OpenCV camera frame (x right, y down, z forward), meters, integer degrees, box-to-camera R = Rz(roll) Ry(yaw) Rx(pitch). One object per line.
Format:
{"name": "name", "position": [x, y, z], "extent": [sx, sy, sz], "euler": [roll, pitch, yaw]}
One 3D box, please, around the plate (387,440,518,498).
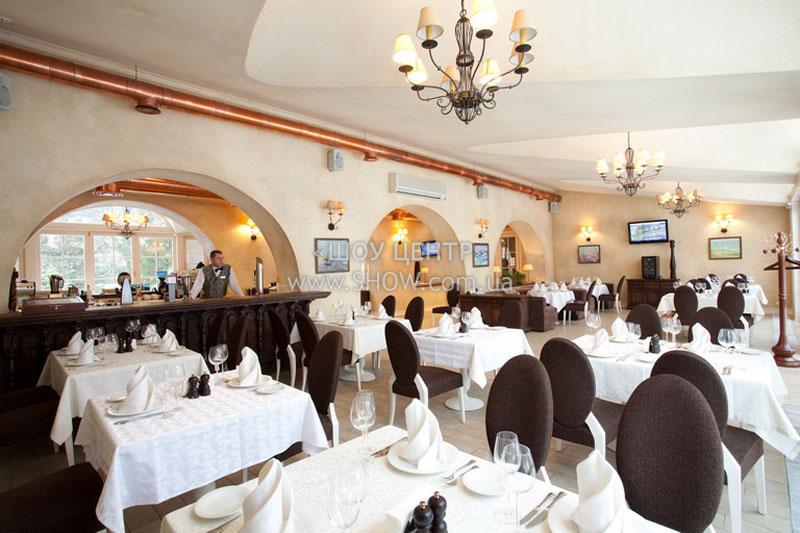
{"name": "plate", "position": [0.429, 1.518, 4.018], "extent": [0.376, 0.051, 0.569], "euler": [-2, 11, -30]}

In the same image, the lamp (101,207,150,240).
{"name": "lamp", "position": [-6.905, -0.921, 13.334], "extent": [1.111, 0.878, 1.069], "euler": [-3, 9, -34]}

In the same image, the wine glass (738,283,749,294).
{"name": "wine glass", "position": [6.509, 0.402, 10.121], "extent": [0.181, 0.202, 0.206], "euler": [1, 2, -28]}

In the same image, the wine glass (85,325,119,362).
{"name": "wine glass", "position": [-3.398, 0.877, 6.054], "extent": [0.266, 0.427, 0.248], "euler": [5, 5, 29]}

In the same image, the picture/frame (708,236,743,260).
{"name": "picture/frame", "position": [8.357, -0.501, 13.638], "extent": [0.044, 0.524, 0.609], "euler": [1, -1, -44]}

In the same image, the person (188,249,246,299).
{"name": "person", "position": [-2.872, 0.315, 8.378], "extent": [0.859, 1.201, 0.315], "euler": [-1, 28, -20]}

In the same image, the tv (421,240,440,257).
{"name": "tv", "position": [0.949, -0.617, 17.087], "extent": [0.227, 0.562, 0.951], "euler": [0, -2, -37]}

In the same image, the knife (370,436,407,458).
{"name": "knife", "position": [-0.119, 1.437, 4.186], "extent": [0.104, 0.025, 0.354], "euler": [-9, 1, 31]}

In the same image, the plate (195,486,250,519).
{"name": "plate", "position": [-1.280, 1.688, 3.810], "extent": [0.246, 0.037, 0.247], "euler": [1, 13, -9]}

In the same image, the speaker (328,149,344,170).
{"name": "speaker", "position": [-1.099, -1.832, 9.044], "extent": [0.133, 0.379, 0.391], "euler": [-2, -2, 18]}

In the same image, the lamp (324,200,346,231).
{"name": "lamp", "position": [-1.052, -0.899, 9.215], "extent": [0.305, 0.532, 0.482], "euler": [-1, -1, 32]}

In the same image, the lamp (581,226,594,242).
{"name": "lamp", "position": [5.553, -0.998, 15.768], "extent": [0.195, 0.479, 0.465], "euler": [3, -4, -42]}

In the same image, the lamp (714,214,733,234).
{"name": "lamp", "position": [8.306, -1.115, 13.645], "extent": [0.198, 0.650, 0.489], "euler": [4, -3, -41]}

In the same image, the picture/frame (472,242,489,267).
{"name": "picture/frame", "position": [1.928, -0.307, 12.692], "extent": [0.145, 0.587, 0.832], "euler": [-1, -1, 31]}

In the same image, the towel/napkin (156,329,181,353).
{"name": "towel/napkin", "position": [-2.655, 0.844, 6.143], "extent": [0.248, 0.277, 0.250], "euler": [1, 1, -13]}

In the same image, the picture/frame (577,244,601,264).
{"name": "picture/frame", "position": [5.609, -0.403, 15.752], "extent": [0.060, 0.517, 0.584], "euler": [0, 1, -44]}

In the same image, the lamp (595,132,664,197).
{"name": "lamp", "position": [4.505, -2.055, 10.392], "extent": [0.925, 1.742, 1.202], "euler": [-1, 3, 26]}

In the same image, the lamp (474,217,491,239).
{"name": "lamp", "position": [1.921, -0.951, 12.591], "extent": [0.265, 0.508, 0.515], "euler": [-5, -5, 43]}
